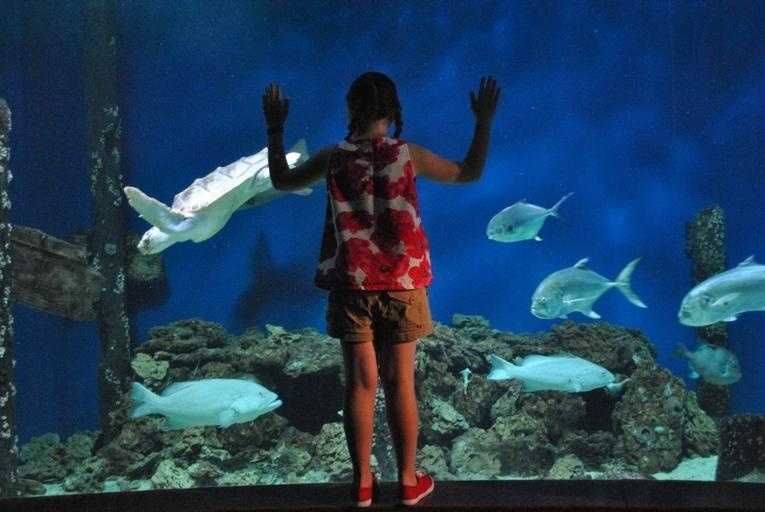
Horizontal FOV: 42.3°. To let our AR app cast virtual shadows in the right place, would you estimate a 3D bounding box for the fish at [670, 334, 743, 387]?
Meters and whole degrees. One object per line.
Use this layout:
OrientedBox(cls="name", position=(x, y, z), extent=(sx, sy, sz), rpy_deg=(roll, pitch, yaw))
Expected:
OrientedBox(cls="fish", position=(4.824, 1.575, 14.720), extent=(0.856, 0.656, 0.288), rpy_deg=(-7, -16, 14))
